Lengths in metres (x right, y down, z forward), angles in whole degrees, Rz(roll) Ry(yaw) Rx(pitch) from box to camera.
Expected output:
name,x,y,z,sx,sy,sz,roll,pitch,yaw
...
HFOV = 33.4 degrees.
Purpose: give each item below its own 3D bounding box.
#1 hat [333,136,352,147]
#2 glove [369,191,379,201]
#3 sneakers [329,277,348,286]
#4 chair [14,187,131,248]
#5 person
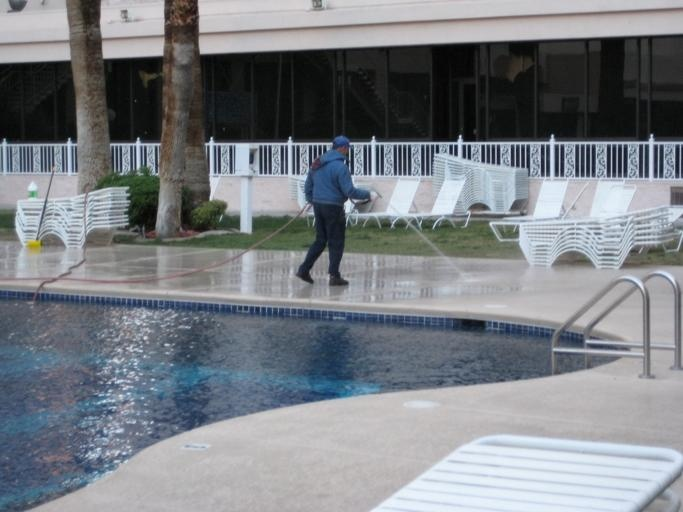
name,x,y,z,sx,sy,sz,roll,pitch,yaw
hat,0.023,-1.664,16.770,0.158,0.136,0.213,17,22,40
glove,0.461,-0.849,16.236,0.159,0.070,0.234,-5,3,5
sneakers,-0.026,0.389,16.767,0.232,0.114,0.124,-2,8,-15
chair,-5.013,-0.733,21.214,1.524,0.876,1.231,0,6,14
person,-0.153,-0.644,16.719,0.785,2.141,1.180,-7,10,-44
